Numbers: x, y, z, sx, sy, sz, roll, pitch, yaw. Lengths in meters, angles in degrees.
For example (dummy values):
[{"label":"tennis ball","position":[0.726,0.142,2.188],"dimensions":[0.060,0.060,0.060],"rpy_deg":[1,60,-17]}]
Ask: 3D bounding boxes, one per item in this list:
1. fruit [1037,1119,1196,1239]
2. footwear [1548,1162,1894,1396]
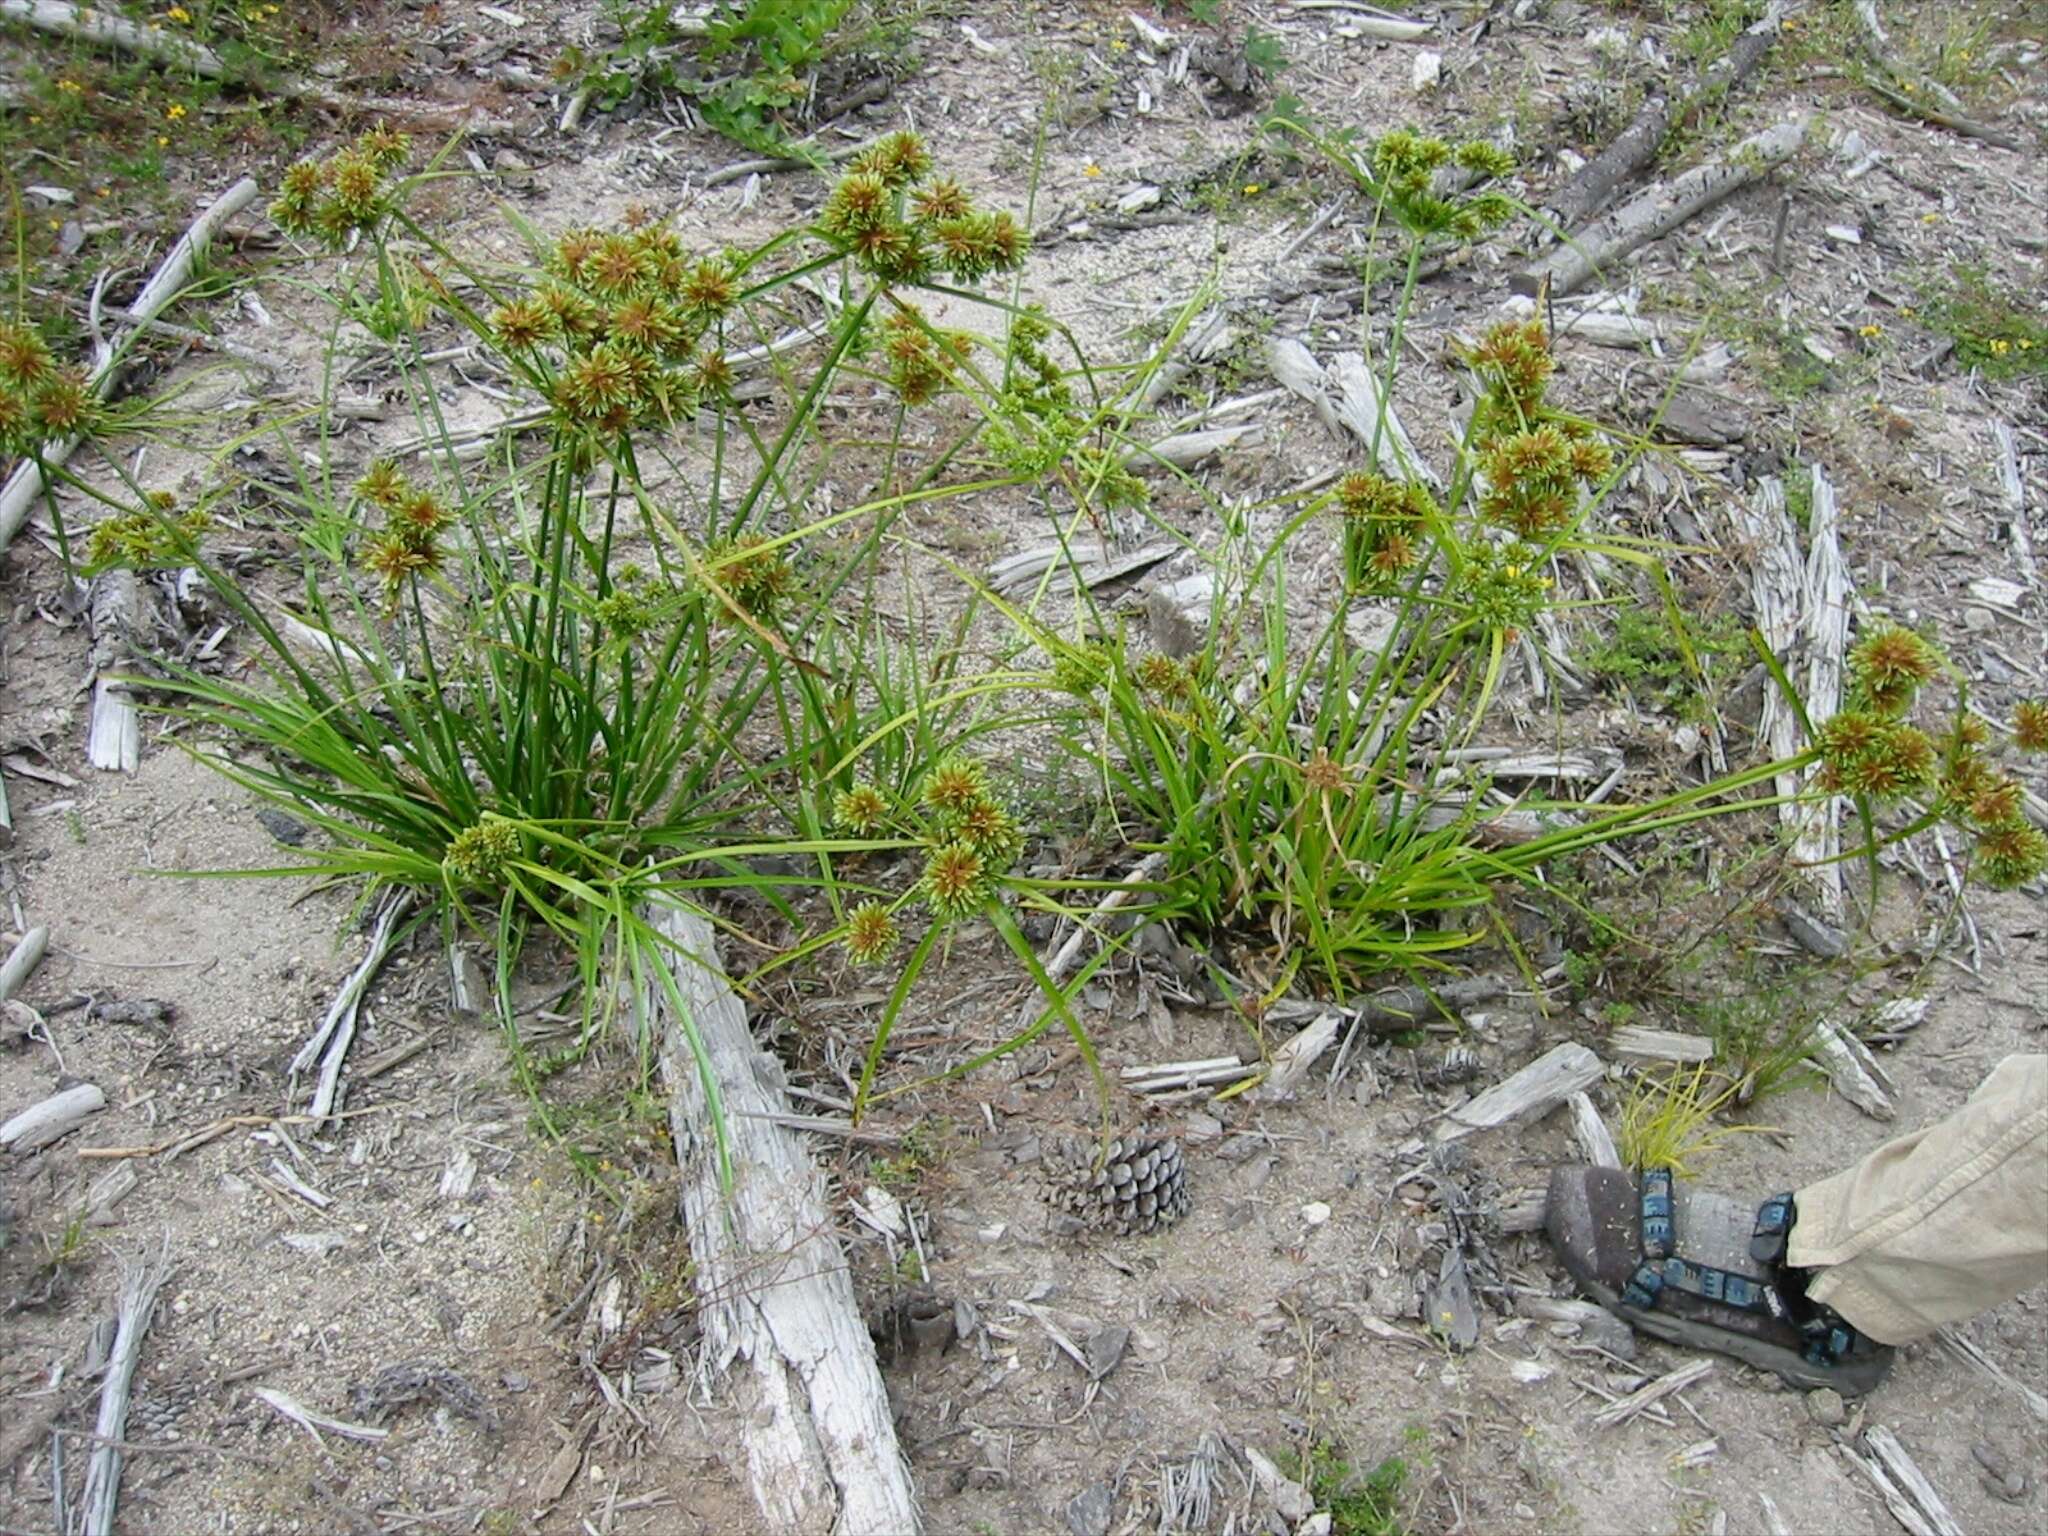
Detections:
[{"label":"fruit","position":[0.194,0.927,3.727],"dimensions":[0.283,0.131,0.240],"rpy_deg":[-2,78,2]},{"label":"footwear","position":[1.521,1.124,3.848],"dimensions":[0.730,0.521,0.392],"rpy_deg":[28,85,4]}]
